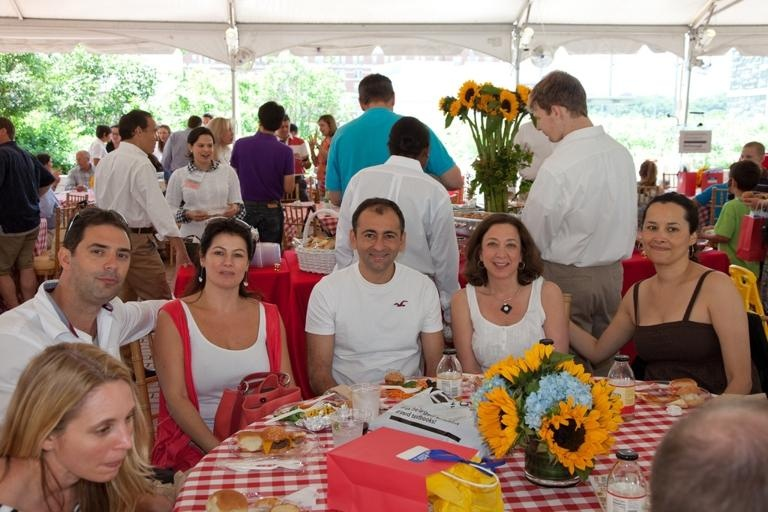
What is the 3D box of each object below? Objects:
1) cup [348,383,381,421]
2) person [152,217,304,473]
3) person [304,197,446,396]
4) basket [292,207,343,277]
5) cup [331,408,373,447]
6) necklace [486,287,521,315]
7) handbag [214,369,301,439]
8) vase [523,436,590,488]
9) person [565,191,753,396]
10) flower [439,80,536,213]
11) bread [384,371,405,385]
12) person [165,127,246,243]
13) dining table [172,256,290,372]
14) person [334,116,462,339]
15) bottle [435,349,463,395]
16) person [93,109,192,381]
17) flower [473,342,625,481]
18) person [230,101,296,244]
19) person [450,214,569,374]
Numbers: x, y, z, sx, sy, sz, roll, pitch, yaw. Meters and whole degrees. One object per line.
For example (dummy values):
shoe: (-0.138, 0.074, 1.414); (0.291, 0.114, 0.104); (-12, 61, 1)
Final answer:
cup: (-0.064, 0.534, 2.004); (0.135, 0.133, 0.128); (0, -9, 0)
person: (-0.701, 0.438, 2.555); (0.602, 1.115, 0.561); (-3, 5, -40)
person: (-0.017, 0.255, 2.736); (0.724, 1.032, 0.657); (-3, 9, -19)
basket: (-0.440, -0.121, 3.683); (0.353, 0.406, 0.291); (8, 22, -36)
cup: (-0.129, 0.566, 1.834); (0.112, 0.087, 0.118); (0, 3, 0)
necklace: (0.566, 0.214, 2.637); (0.145, 0.126, 0.057); (-3, -33, 7)
handbag: (-0.498, 0.585, 2.160); (0.253, 0.265, 0.146); (2, 13, -36)
vase: (0.525, 0.636, 1.709); (0.170, 0.125, 0.172); (3, -14, 0)
person: (1.323, 0.160, 2.586); (0.713, 0.888, 0.322); (7, 10, 40)
flower: (0.674, -0.657, 3.550); (0.574, 0.820, 0.548); (4, 13, 25)
bread: (0.052, 0.511, 2.315); (0.056, 0.030, 0.056); (2, 1, -43)
person: (-1.528, -0.340, 4.749); (0.665, 1.439, 0.578); (-4, 25, -21)
dining table: (-0.919, 0.277, 3.454); (0.682, 0.506, 0.672); (5, 7, -3)
person: (0.083, -0.089, 3.680); (0.698, 1.707, 0.493); (15, 41, 9)
bottle: (0.250, 0.468, 2.168); (0.113, 0.191, 0.111); (-2, 8, 0)
person: (-1.989, -0.069, 4.560); (0.789, 2.062, 0.678); (6, 6, 24)
flower: (0.465, 0.410, 1.759); (0.412, 0.350, 0.406); (-1, 7, -11)
person: (-1.253, -0.603, 5.590); (0.591, 1.899, 0.535); (3, 33, -13)
person: (0.574, 0.288, 2.617); (0.549, 0.943, 0.507); (-5, 8, 7)
